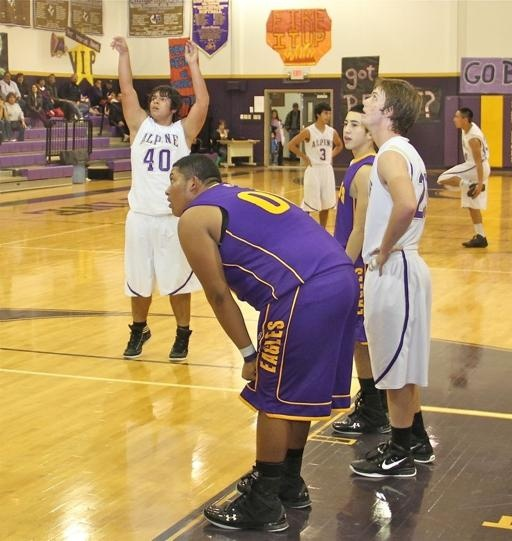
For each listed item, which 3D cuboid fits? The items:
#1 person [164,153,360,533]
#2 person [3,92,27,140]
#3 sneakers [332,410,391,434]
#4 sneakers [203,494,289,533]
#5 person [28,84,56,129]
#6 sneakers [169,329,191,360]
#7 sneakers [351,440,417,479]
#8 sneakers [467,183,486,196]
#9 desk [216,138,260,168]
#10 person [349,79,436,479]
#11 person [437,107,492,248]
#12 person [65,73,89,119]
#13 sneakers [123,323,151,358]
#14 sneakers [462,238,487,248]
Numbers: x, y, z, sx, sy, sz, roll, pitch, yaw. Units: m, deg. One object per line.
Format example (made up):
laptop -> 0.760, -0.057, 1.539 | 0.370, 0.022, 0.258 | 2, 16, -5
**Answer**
person -> 0.053, 0.259, 1.618 | 0.483, 1.025, 0.292 | -1, 6, 10
person -> -7.025, -4.458, 16.033 | 0.563, 1.474, 0.906 | -4, 6, -22
sneakers -> 0.475, 0.704, 2.579 | 0.281, 0.113, 0.092 | 1, -11, -1
sneakers -> -0.024, 0.725, 1.694 | 0.277, 0.120, 0.098 | 2, -1, 11
person -> -6.921, -5.301, 17.727 | 0.561, 1.370, 0.861 | -1, 6, 7
sneakers -> -0.504, 0.495, 3.680 | 0.091, 0.114, 0.273 | 1, 8, 5
sneakers -> 0.482, 0.700, 2.095 | 0.273, 0.145, 0.109 | 0, 4, 5
sneakers -> 3.077, -1.158, 7.772 | 0.145, 0.251, 0.092 | 42, 10, 39
desk -> -0.753, -4.537, 20.909 | 1.090, 0.939, 2.039 | 8, 11, 44
person -> 0.481, 0.034, 1.982 | 0.302, 1.462, 0.448 | 0, 6, 17
person -> 3.022, -1.312, 7.906 | 0.693, 1.953, 0.673 | -1, 6, 4
person -> -6.080, -5.913, 18.777 | 0.716, 1.418, 0.685 | -4, 6, -20
sneakers -> -0.808, 0.462, 3.740 | 0.095, 0.134, 0.286 | -2, 21, 17
sneakers -> 3.092, -0.406, 7.829 | 0.370, 0.156, 0.122 | 0, 1, 3
